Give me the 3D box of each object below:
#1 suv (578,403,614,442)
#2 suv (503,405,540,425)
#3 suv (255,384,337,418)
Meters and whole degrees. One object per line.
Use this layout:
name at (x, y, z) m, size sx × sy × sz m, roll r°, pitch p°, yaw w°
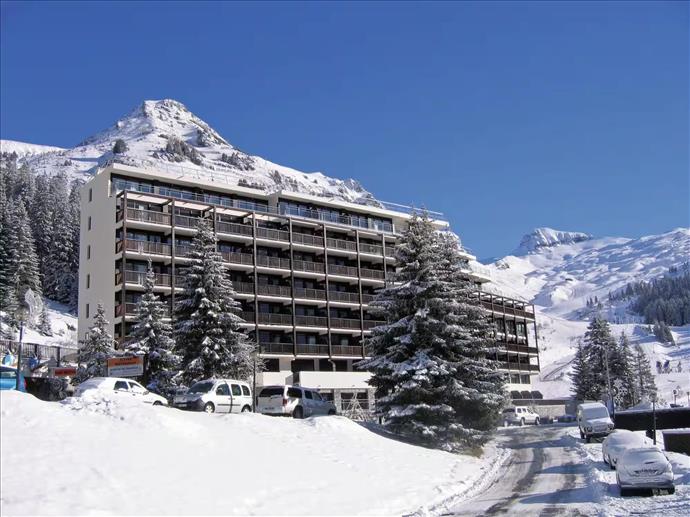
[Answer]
suv at (16.936, 11.060, 53.925) m, size 2.038 × 2.572 × 2.790 m, roll -6°, pitch -13°, yaw 16°
suv at (17.120, 15.306, 77.541) m, size 1.921 × 1.914 × 4.139 m, roll -13°, pitch -17°, yaw 41°
suv at (-2.913, 8.588, 47.764) m, size 1.677 × 1.926 × 4.459 m, roll -14°, pitch -17°, yaw 43°
